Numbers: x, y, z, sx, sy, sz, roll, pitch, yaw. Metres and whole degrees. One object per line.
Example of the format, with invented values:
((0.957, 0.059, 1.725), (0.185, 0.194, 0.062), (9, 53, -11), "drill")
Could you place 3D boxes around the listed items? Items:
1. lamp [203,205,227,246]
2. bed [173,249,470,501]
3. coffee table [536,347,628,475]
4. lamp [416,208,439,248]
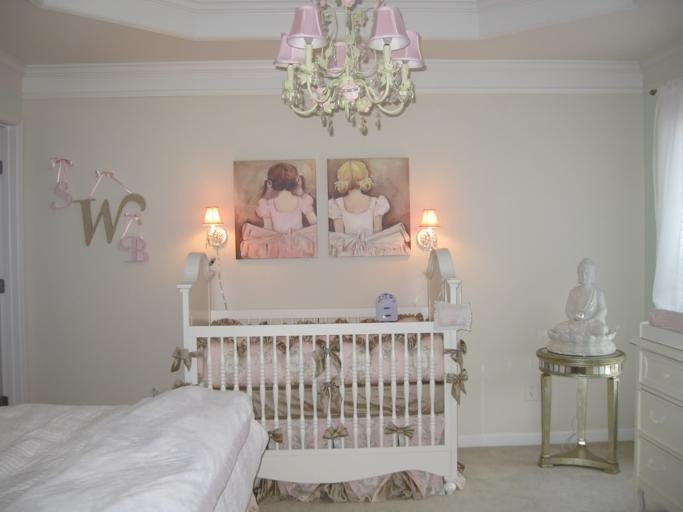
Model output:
((-1.020, -0.226, 4.692), (0.182, 0.352, 0.153), (-3, 13, -11), "lamp")
((0.073, 0.809, 4.181), (1.358, 1.383, 1.341), (1, 10, -1), "bed")
((1.746, 1.133, 4.469), (0.721, 1.135, 0.767), (-1, 2, 12), "coffee table")
((0.708, -0.210, 4.703), (0.186, 0.342, 0.131), (0, 13, 2), "lamp")
